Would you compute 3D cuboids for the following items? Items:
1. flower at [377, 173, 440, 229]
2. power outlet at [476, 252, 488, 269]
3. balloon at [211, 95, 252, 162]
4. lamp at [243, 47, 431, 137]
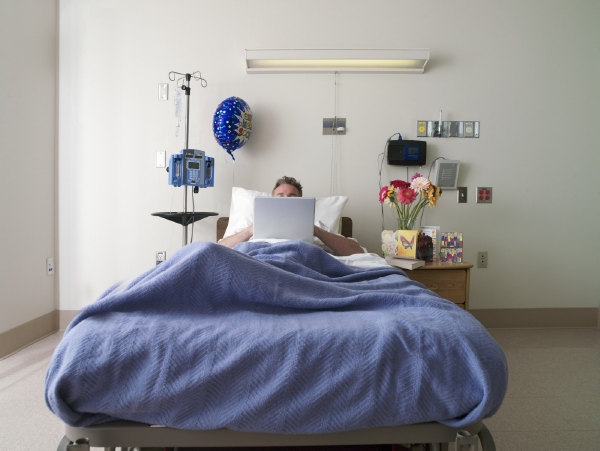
[{"bbox_3d":[0.859,-0.149,4.087,0.370,0.454,0.347,1,16,-22],"label":"flower"},{"bbox_3d":[1.580,0.294,4.516,0.105,0.221,0.020,1,0,1],"label":"power outlet"},{"bbox_3d":[-0.550,-0.823,4.316,0.220,0.497,0.311,13,2,36],"label":"balloon"},{"bbox_3d":[0.299,-1.164,4.532,1.524,0.880,0.404,2,26,6],"label":"lamp"}]
